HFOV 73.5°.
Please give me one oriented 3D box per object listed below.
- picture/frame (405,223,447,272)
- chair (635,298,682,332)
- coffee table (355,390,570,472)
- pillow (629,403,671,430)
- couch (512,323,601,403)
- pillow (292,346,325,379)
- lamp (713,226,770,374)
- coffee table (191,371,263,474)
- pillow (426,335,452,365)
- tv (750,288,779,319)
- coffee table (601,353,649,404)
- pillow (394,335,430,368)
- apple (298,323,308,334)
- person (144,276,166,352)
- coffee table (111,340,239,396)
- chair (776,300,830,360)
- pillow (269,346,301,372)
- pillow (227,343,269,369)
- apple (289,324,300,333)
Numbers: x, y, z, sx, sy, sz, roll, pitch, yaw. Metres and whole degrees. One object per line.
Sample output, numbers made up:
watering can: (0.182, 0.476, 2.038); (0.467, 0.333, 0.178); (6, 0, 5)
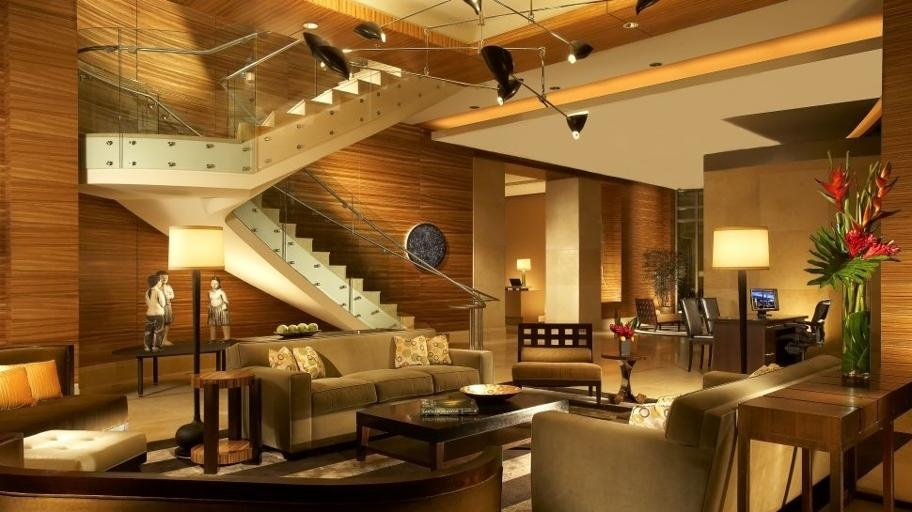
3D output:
picture/frame: (-0.652, -0.270, 13.790); (0.246, 1.052, 1.233); (-9, -9, 41)
chair: (5.818, 1.666, 17.551); (1.249, 0.657, 1.247); (5, -4, -36)
coffee table: (0.117, 2.075, 7.469); (2.408, 0.498, 1.348); (2, -1, -44)
pillow: (1.794, 1.494, 5.671); (0.329, 0.204, 0.089); (2, -5, 19)
couch: (1.506, 1.550, 9.163); (1.225, 0.811, 0.761); (-1, 8, 9)
pillow: (-1.854, 1.355, 7.805); (0.130, 0.379, 0.415); (-28, 2, 18)
lamp: (3.182, 0.466, 6.688); (0.528, 1.597, 0.602); (-6, -7, 26)
coffee table: (-2.659, 1.932, 7.181); (0.959, 0.904, 0.890); (-8, -12, 14)
pillow: (-0.241, 1.355, 8.795); (0.455, 0.350, 0.124); (3, -20, -25)
tv: (6.145, 0.920, 12.182); (0.743, 0.430, 0.198); (2, -9, -24)
coffee table: (2.612, 1.844, 9.549); (0.881, 0.758, 0.803); (-1, 1, 4)
pillow: (-0.618, 1.355, 8.651); (0.524, 0.405, 0.147); (2, -17, -11)
apple: (-2.114, 0.998, 8.454); (0.153, 0.117, 0.136); (-1, 8, -22)
person: (-4.782, 0.876, 9.727); (0.301, 1.211, 0.411); (-1, -7, -16)
coffee table: (-4.379, 1.712, 9.376); (0.612, 0.396, 1.344); (4, 5, 40)
chair: (6.724, 1.504, 11.820); (1.030, 1.169, 0.875); (1, -2, -22)
pillow: (-2.133, 1.283, 7.629); (0.111, 0.303, 0.371); (-27, -20, 35)
pillow: (-2.625, 1.259, 7.759); (0.431, 0.298, 0.383); (0, -3, -30)
apple: (-2.218, 0.999, 8.417); (0.122, 0.095, 0.110); (4, 5, -11)
